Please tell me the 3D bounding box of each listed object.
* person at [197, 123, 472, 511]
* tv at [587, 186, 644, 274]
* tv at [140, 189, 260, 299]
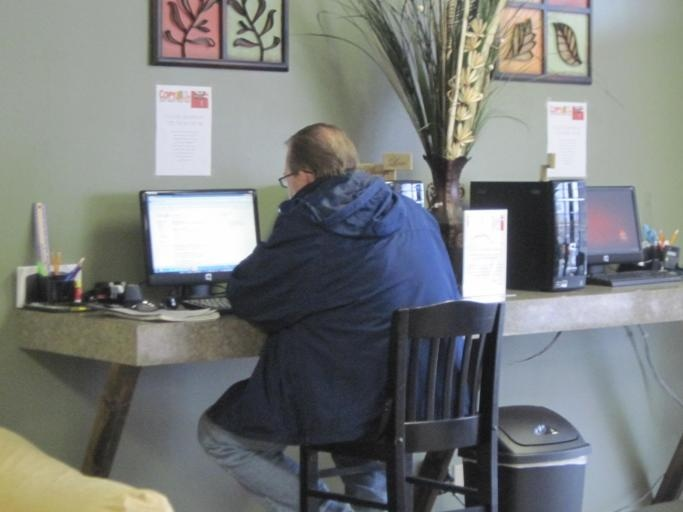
[{"bbox_3d":[-0.067,0.234,2.269,0.883,1.402,0.360,0,3,19],"label":"person"},{"bbox_3d":[1.444,-0.132,3.416,0.385,0.424,0.151,6,-12,-23],"label":"tv"},{"bbox_3d":[-0.603,-0.053,2.691,0.422,0.448,0.142,-1,-3,-28],"label":"tv"}]
